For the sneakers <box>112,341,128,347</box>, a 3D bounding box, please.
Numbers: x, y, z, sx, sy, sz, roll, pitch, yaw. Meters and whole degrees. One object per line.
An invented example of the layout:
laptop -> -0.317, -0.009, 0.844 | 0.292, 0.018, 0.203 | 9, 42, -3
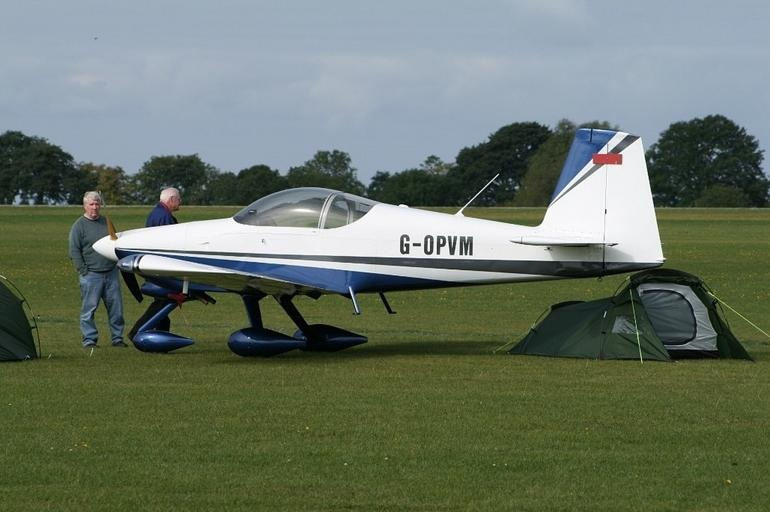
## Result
sneakers -> -4.871, 1.584, 25.977 | 0.323, 0.103, 0.101 | 2, 20, 5
